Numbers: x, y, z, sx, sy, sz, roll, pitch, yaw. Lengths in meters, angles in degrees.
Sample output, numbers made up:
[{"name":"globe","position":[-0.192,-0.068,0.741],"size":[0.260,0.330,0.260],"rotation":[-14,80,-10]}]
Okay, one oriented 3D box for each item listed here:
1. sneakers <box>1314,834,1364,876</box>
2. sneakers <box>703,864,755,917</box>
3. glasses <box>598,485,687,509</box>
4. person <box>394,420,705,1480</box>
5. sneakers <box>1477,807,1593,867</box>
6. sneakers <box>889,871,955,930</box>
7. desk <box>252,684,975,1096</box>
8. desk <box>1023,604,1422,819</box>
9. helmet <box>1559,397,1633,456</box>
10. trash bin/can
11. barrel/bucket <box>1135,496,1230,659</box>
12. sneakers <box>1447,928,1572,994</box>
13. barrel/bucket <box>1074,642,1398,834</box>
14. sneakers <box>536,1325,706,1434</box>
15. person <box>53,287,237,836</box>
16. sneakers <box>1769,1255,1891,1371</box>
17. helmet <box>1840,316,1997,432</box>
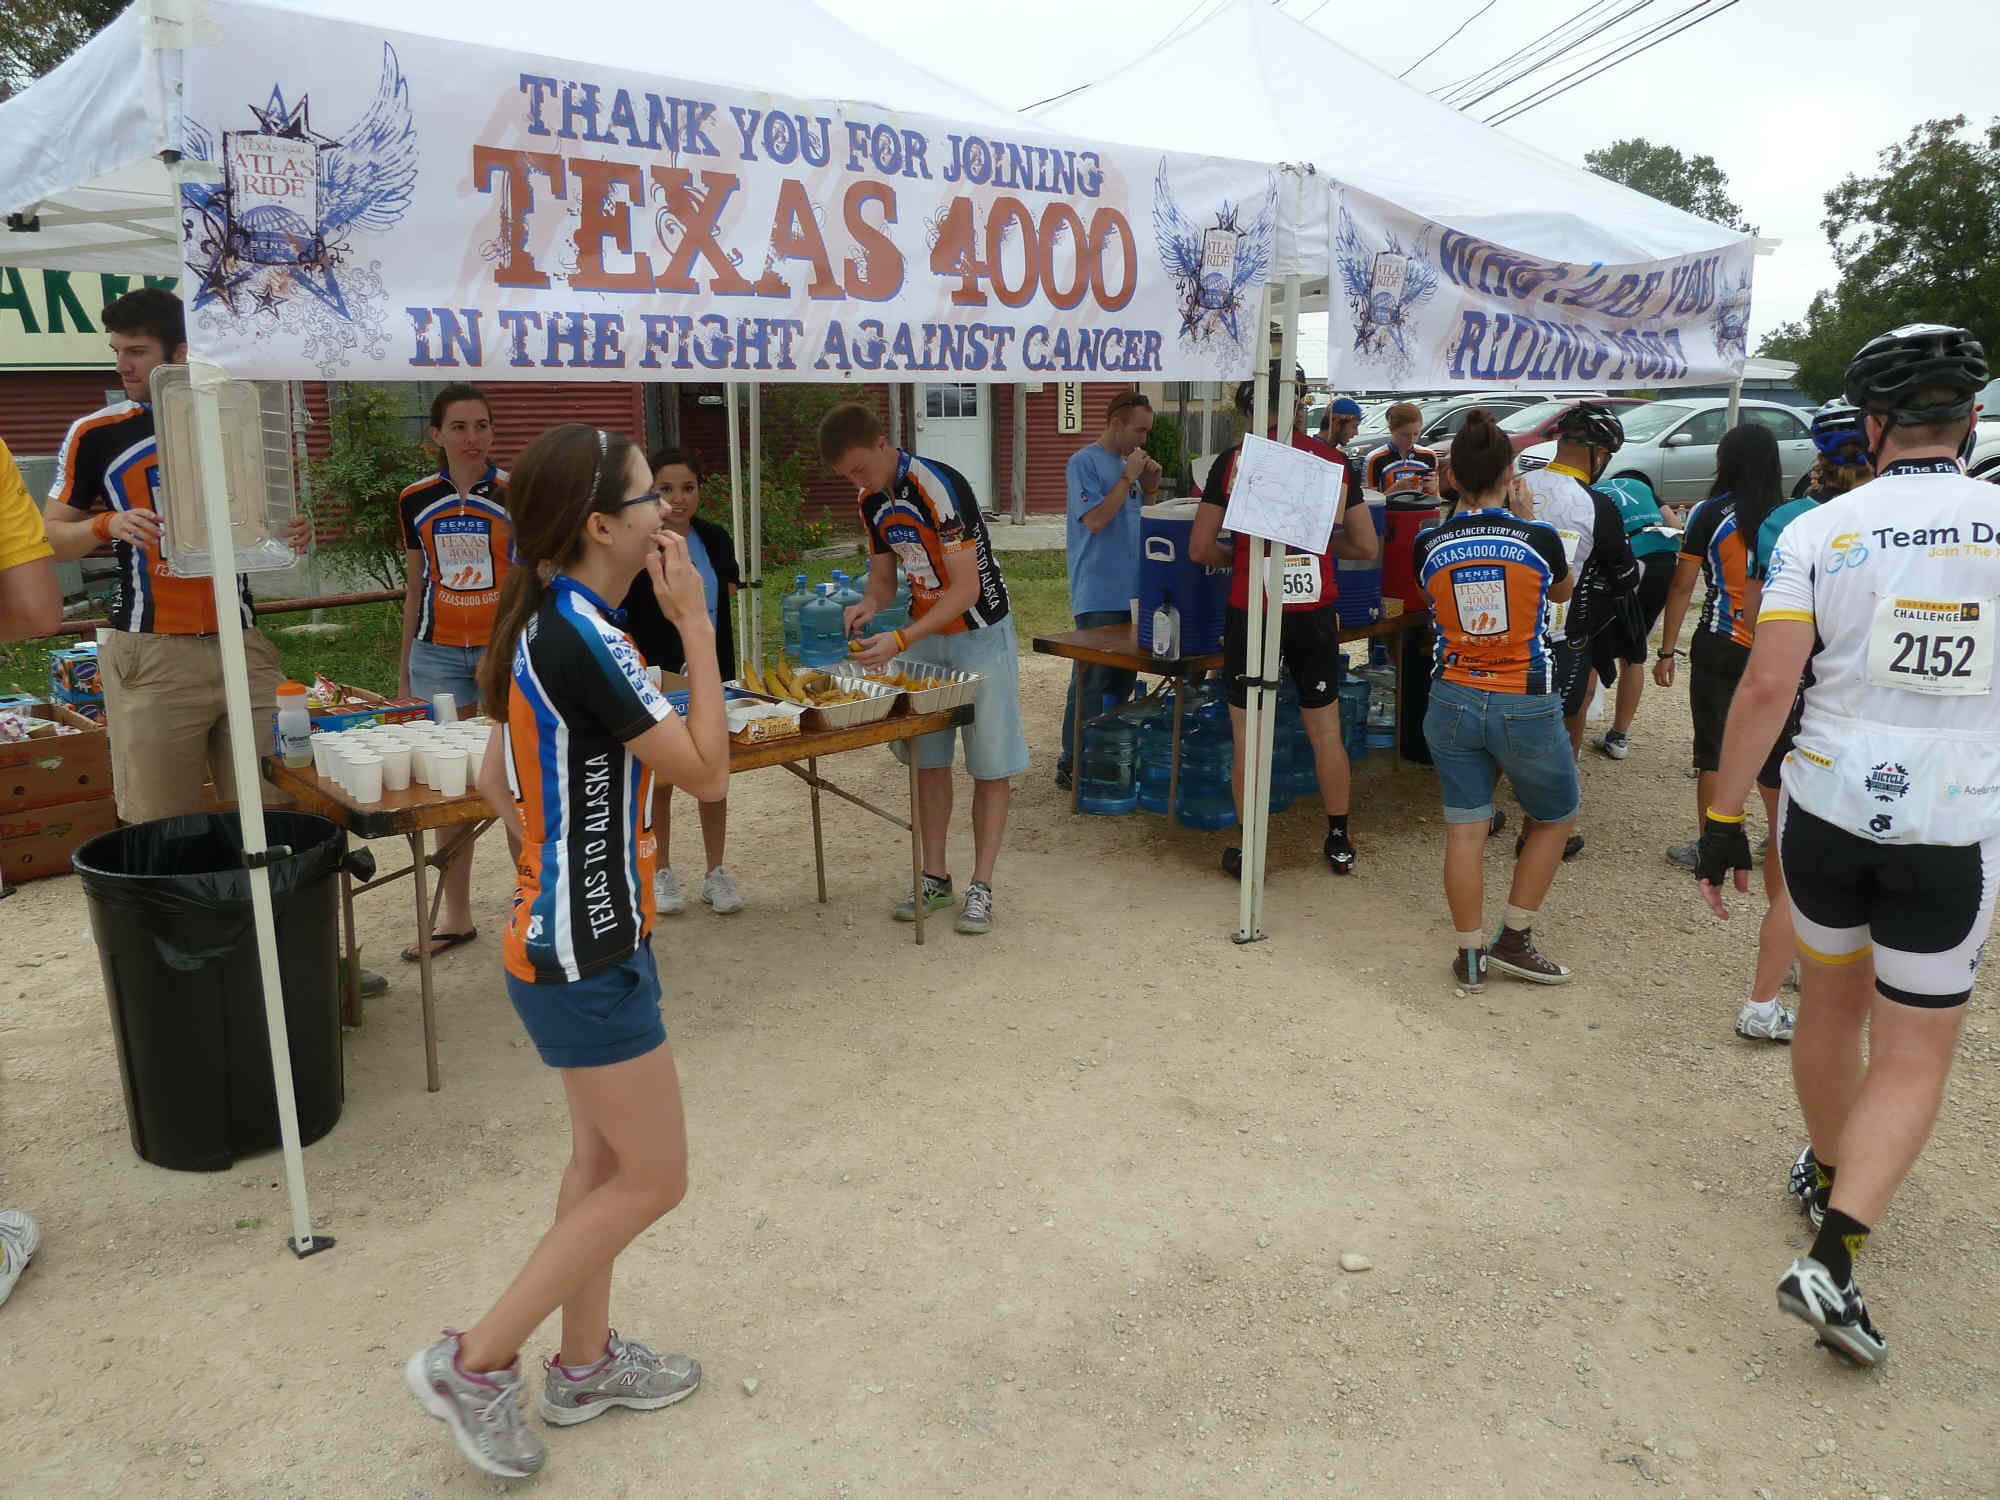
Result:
[{"name":"sneakers","position":[1.572,0.491,7.403],"size":[0.174,0.152,0.322],"rotation":[-1,-3,8]},{"name":"sneakers","position":[-1.214,0.611,6.891],"size":[0.120,0.127,0.267],"rotation":[-5,3,-27]},{"name":"glasses","position":[-0.831,-0.571,3.606],"size":[0.071,0.035,0.221],"rotation":[8,17,25]},{"name":"person","position":[-1.042,0.497,3.654],"size":[0.819,2.399,0.533],"rotation":[-10,19,-33]},{"name":"sneakers","position":[2.282,0.376,6.759],"size":[0.156,0.205,0.269],"rotation":[-22,-15,31]},{"name":"sneakers","position":[-0.336,0.611,6.688],"size":[0.137,0.169,0.343],"rotation":[1,2,40]},{"name":"desk","position":[-1.295,0.359,5.990],"size":[2.211,0.864,0.735],"rotation":[-11,20,-28]},{"name":"desk","position":[0.981,-0.506,8.132],"size":[2.426,0.880,0.928],"rotation":[-8,20,-35]},{"name":"helmet","position":[2.642,-1.430,7.121],"size":[0.226,0.257,0.268],"rotation":[23,17,39]},{"name":"trash bin/can","position":[-2.307,0.733,5.232],"size":[1.012,1.176,0.982],"rotation":[3,5,0]},{"name":"barrel/bucket","position":[0.817,-0.766,7.373],"size":[0.368,0.652,0.432],"rotation":[-5,17,-19]},{"name":"sneakers","position":[1.968,0.819,6.165],"size":[0.553,0.235,0.185],"rotation":[-1,3,11]},{"name":"barrel/bucket","position":[1.288,-0.138,8.427],"size":[1.500,0.583,0.815],"rotation":[-10,15,-37]},{"name":"sneakers","position":[-0.957,1.542,3.955],"size":[0.393,0.185,0.175],"rotation":[-2,7,-25]},{"name":"person","position":[-2.883,-0.577,5.219],"size":[0.455,1.802,0.622],"rotation":[-9,19,-30]},{"name":"sneakers","position":[2.134,1.449,4.070],"size":[0.361,0.159,0.130],"rotation":[38,-13,-12]},{"name":"helmet","position":[2.403,-0.983,4.213],"size":[0.269,0.196,0.353],"rotation":[-6,8,14]}]
